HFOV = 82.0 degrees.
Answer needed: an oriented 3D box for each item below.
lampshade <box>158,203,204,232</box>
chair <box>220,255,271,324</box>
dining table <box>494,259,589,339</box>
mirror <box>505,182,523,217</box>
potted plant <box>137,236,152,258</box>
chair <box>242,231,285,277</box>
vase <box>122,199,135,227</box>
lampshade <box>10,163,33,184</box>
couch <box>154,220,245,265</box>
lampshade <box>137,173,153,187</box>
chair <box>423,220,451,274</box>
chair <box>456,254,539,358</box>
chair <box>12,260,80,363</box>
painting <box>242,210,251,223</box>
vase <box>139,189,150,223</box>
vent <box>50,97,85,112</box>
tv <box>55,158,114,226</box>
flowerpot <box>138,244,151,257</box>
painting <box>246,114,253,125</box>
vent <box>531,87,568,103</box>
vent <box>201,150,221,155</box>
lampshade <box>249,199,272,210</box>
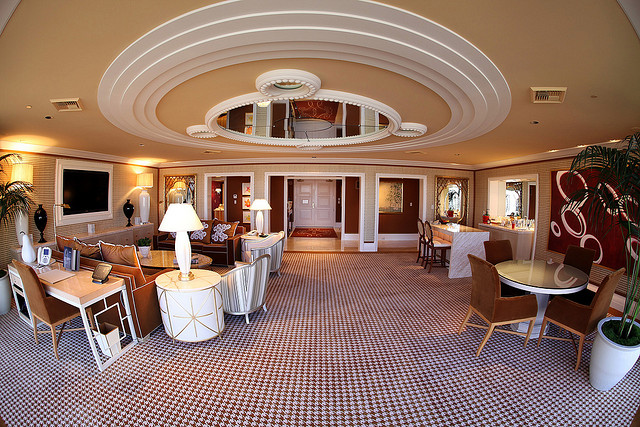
[{"bbox_3d":[-2.051,0.071,5.514,0.581,0.427,0.323,-1,8,-20],"label":"lampshade"},{"bbox_3d":[-1.277,1.176,6.288,0.849,1.089,0.838,9,13,38],"label":"chair"},{"bbox_3d":[3.539,1.409,6.061,1.318,1.034,1.372,10,17,41],"label":"dining table"},{"bbox_3d":[6.683,-0.518,12.781,0.527,1.140,0.354,5,9,21],"label":"mirror"},{"bbox_3d":[-3.534,0.670,7.400,0.314,0.405,0.353,-1,3,-1],"label":"potted plant"},{"bbox_3d":[-1.180,0.851,7.938,0.863,0.948,0.934,-3,9,-30],"label":"chair"},{"bbox_3d":[-5.081,-0.009,9.877,0.248,0.677,0.299,-4,10,-33],"label":"vase"},{"bbox_3d":[-5.680,-0.763,7.152,0.350,0.423,0.364,3,2,19],"label":"lampshade"},{"bbox_3d":[-2.916,0.714,8.990,1.981,1.105,0.829,2,1,6],"label":"couch"},{"bbox_3d":[-4.830,-0.937,10.287,0.388,0.386,0.332,-2,9,-27],"label":"lampshade"},{"bbox_3d":[2.817,0.757,8.772,0.675,1.106,0.665,2,2,11],"label":"chair"},{"bbox_3d":[2.727,1.411,5.662,0.967,1.273,0.904,-1,10,-32],"label":"chair"},{"bbox_3d":[-3.855,1.346,5.241,0.773,1.390,0.402,3,8,11],"label":"chair"},{"bbox_3d":[-2.496,0.104,12.674,0.420,0.451,0.045,-1,-6,10],"label":"painting"},{"bbox_3d":[-4.838,-0.201,10.315,0.280,0.909,0.317,6,9,31],"label":"vase"},{"bbox_3d":[-3.543,-1.569,5.248,0.462,0.141,0.274,2,8,-1],"label":"vent"},{"bbox_3d":[-5.575,-0.532,8.857,0.113,1.432,1.437,6,6,17],"label":"tv"},{"bbox_3d":[-3.412,0.731,7.255,0.177,0.145,0.184,0,-3,-5],"label":"flowerpot"},{"bbox_3d":[-1.240,-1.680,6.562,0.115,0.143,0.320,0,8,-9],"label":"painting"},{"bbox_3d":[2.968,-1.565,4.830,0.245,0.079,0.236,3,-4,20],"label":"vent"},{"bbox_3d":[-2.605,-1.498,8.944,0.417,0.080,0.758,-1,8,-21],"label":"vent"},{"bbox_3d":[-1.373,-0.205,8.630,0.413,0.253,0.355,-1,8,-17],"label":"lampshade"}]
